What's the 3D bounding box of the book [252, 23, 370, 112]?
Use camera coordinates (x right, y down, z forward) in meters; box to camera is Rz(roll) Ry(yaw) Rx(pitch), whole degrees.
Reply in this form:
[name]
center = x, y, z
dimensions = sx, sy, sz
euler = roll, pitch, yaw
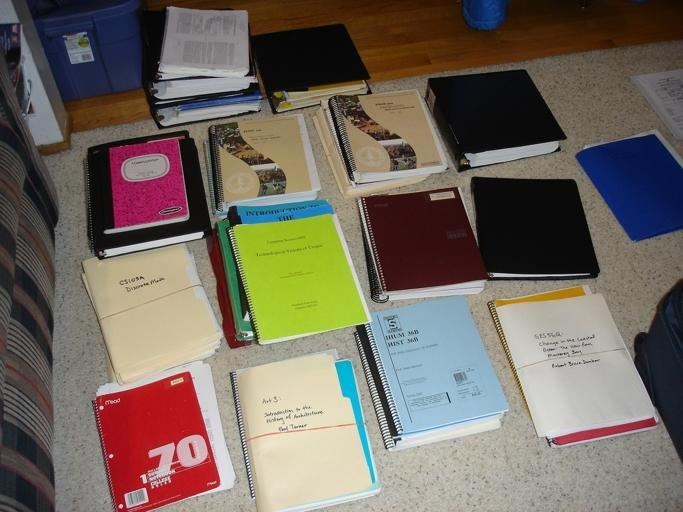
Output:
[book]
center = -0.097, -0.556, 1.692
dimensions = 0.289, 0.069, 0.279
euler = -11, 63, -10
